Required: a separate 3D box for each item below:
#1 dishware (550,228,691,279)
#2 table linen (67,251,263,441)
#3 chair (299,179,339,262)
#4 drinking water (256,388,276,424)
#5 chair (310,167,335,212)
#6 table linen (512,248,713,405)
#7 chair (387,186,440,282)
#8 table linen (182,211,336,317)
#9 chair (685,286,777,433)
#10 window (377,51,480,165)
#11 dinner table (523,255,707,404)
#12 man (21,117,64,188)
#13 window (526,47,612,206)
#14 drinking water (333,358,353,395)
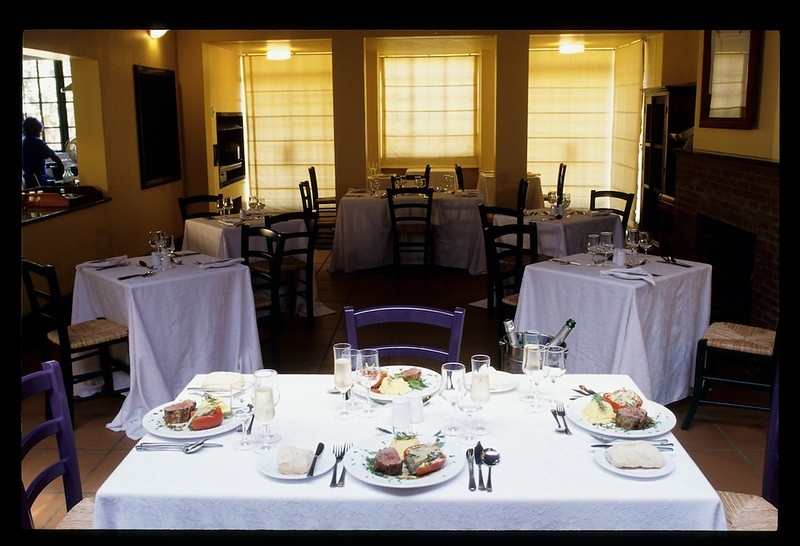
[{"bbox_3d":[1.502,-0.085,3.919,0.491,0.104,0.503,-5,17,-6],"label":"dishware"},{"bbox_3d":[-1.533,0.267,4.062,1.216,0.800,1.108,19,28,36],"label":"table linen"},{"bbox_3d":[-1.126,-0.849,8.539,0.757,0.970,0.743,0,4,5],"label":"chair"},{"bbox_3d":[-0.438,0.434,1.878,0.106,0.110,0.104,-2,-6,-10],"label":"drinking water"},{"bbox_3d":[-1.159,-1.213,9.084,0.475,0.779,0.398,-3,-4,-10],"label":"chair"},{"bbox_3d":[1.364,0.272,3.696,0.976,0.620,1.118,9,19,18],"label":"table linen"},{"bbox_3d":[0.143,-0.528,7.069,0.553,1.065,0.809,-3,18,-1],"label":"chair"},{"bbox_3d":[-1.240,-0.030,5.634,1.187,0.652,1.236,18,-44,-39],"label":"table linen"},{"bbox_3d":[2.107,0.481,3.508,0.609,0.843,0.598,2,11,20],"label":"chair"},{"bbox_3d":[0.553,-3.178,10.731,2.233,2.223,0.114,0,7,-1],"label":"window"},{"bbox_3d":[1.453,0.230,3.967,1.217,0.588,1.174,-8,15,-23],"label":"dinner table"},{"bbox_3d":[-4.184,-1.362,6.547,0.325,0.770,0.501,-10,19,-23],"label":"man"},{"bbox_3d":[3.248,-2.658,10.956,1.348,2.331,0.070,2,-1,5],"label":"window"},{"bbox_3d":[-0.206,0.369,2.071,0.069,0.105,0.067,-4,2,-34],"label":"drinking water"}]
